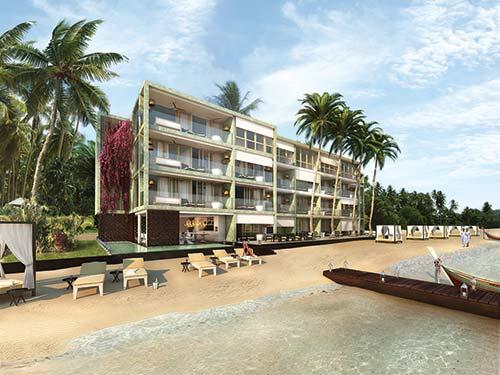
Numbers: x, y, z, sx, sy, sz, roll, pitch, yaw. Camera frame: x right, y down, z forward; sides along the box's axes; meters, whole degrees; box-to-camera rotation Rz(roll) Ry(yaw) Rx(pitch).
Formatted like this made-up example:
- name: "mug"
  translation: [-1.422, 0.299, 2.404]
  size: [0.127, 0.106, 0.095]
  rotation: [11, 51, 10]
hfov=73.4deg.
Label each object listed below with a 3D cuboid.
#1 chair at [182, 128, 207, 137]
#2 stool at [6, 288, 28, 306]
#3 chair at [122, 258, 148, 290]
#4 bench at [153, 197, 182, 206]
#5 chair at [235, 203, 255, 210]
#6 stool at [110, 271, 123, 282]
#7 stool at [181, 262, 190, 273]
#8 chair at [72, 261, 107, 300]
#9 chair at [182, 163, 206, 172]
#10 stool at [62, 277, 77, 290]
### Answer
- name: "chair"
  translation: [-5.272, -5.150, 32.075]
  size: [0.610, 0.653, 2.743]
  rotation: [-8, -11, 43]
- name: "stool"
  translation: [-11.792, 5.469, 17.025]
  size: [0.906, 0.866, 0.882]
  rotation: [-2, -9, 16]
- name: "chair"
  translation: [-6.893, 5.034, 19.599]
  size: [1.394, 1.403, 1.465]
  rotation: [-5, 3, -4]
- name: "bench"
  translation: [-7.180, 1.221, 29.459]
  size: [2.376, 0.657, 0.165]
  rotation: [5, -9, -34]
- name: "chair"
  translation: [-0.395, 1.890, 34.915]
  size: [0.695, 1.011, 2.739]
  rotation: [-6, -10, 35]
- name: "stool"
  translation: [-7.997, 5.255, 20.019]
  size: [0.664, 0.486, 0.654]
  rotation: [1, -2, -34]
- name: "stool"
  translation: [-4.234, 5.236, 22.018]
  size: [0.577, 0.612, 0.575]
  rotation: [0, -3, -4]
- name: "chair"
  translation: [-8.800, 5.076, 18.413]
  size: [1.528, 1.772, 1.963]
  rotation: [3, -9, -26]
- name: "chair"
  translation: [-5.344, -1.804, 31.540]
  size: [0.345, 0.550, 2.352]
  rotation: [-8, -11, 44]
- name: "stool"
  translation: [-9.909, 5.300, 18.451]
  size: [0.685, 0.632, 0.687]
  rotation: [1, -3, 5]
